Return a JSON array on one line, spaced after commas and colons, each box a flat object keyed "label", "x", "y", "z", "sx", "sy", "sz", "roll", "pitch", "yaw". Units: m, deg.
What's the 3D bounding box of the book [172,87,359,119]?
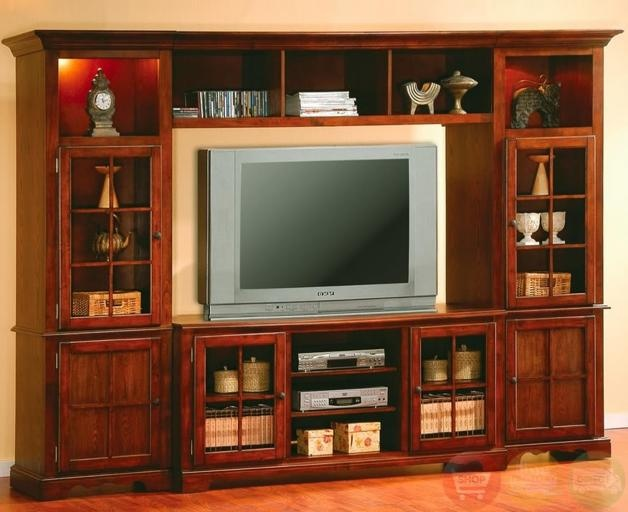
[{"label": "book", "x": -0.277, "y": -0.874, "z": 4.274, "sx": 1.035, "sy": 0.195, "sz": 0.211, "roll": -4, "pitch": 6, "yaw": -8}]

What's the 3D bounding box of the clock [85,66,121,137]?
[{"label": "clock", "x": -1.161, "y": -0.835, "z": 4.056, "sx": 0.156, "sy": 0.340, "sz": 0.124, "roll": -12, "pitch": 20, "yaw": -44}]

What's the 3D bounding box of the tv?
[{"label": "tv", "x": -0.010, "y": -0.137, "z": 4.351, "sx": 1.107, "sy": 0.737, "sz": 0.158, "roll": -1, "pitch": 1, "yaw": -11}]
